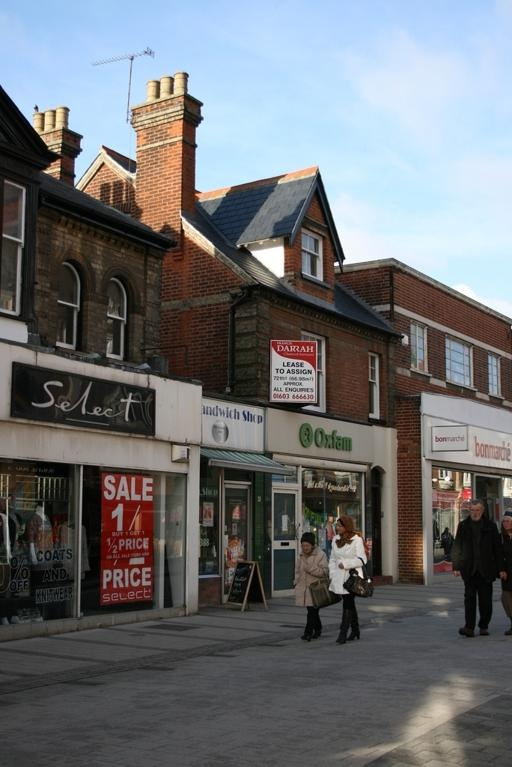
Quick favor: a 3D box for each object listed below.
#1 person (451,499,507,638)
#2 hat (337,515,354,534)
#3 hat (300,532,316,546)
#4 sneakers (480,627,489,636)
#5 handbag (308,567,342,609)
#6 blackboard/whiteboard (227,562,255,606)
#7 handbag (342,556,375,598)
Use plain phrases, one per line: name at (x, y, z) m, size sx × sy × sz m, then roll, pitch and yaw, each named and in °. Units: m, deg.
person at (2.923, 2.457, 11.961) m, size 0.871 × 1.761 × 0.568 m, roll 5°, pitch -10°, yaw -35°
hat at (1.184, 1.845, 11.602) m, size 0.215 × 0.205 × 0.163 m, roll 29°, pitch -16°, yaw -10°
hat at (0.677, 2.021, 11.598) m, size 0.128 × 0.176 × 0.189 m, roll 5°, pitch -3°, yaw 22°
sneakers at (2.997, 3.275, 11.752) m, size 0.053 × 0.114 × 0.174 m, roll -1°, pitch -19°, yaw 5°
handbag at (0.859, 2.561, 11.265) m, size 0.131 × 0.505 × 0.492 m, roll -19°, pitch -14°, yaw 40°
blackboard/whiteboard at (-0.209, 3.434, 15.145) m, size 0.313 × 0.803 × 0.857 m, roll 2°, pitch -10°, yaw -22°
handbag at (1.289, 2.483, 11.183) m, size 0.262 × 0.368 × 0.409 m, roll -8°, pitch -11°, yaw 39°
